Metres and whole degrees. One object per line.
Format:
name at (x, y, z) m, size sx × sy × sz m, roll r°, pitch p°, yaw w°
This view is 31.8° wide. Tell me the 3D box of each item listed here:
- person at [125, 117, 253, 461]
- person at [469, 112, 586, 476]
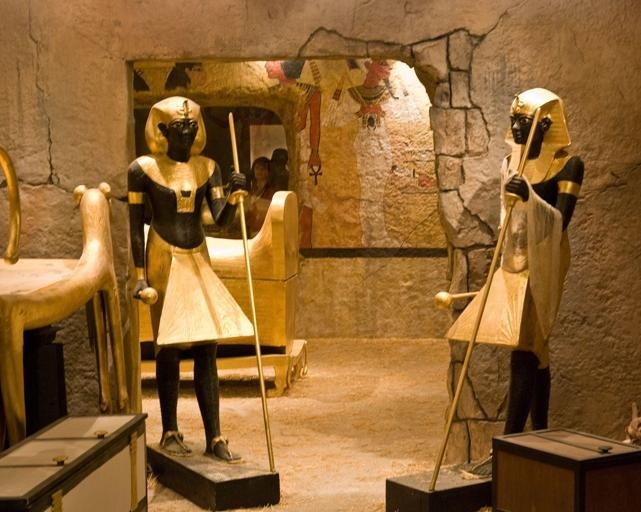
person at (-0.667, 0.161, 5.804) m, size 0.597 × 1.804 × 0.462 m, roll -7°, pitch 5°, yaw -11°
person at (1.014, 0.076, 5.442) m, size 0.582 × 1.561 × 0.334 m, roll -5°, pitch 5°, yaw 10°
